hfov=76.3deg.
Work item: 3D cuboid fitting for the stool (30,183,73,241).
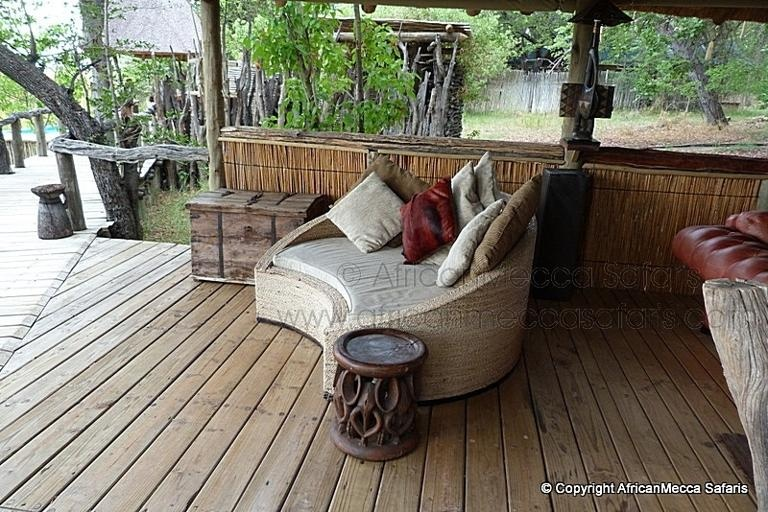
[{"bbox_3d":[-3.858,-0.520,5.740,0.370,0.624,0.397,13,22,35],"label":"stool"}]

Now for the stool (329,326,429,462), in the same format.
[{"bbox_3d":[-0.032,0.843,3.013,0.580,0.676,0.472,1,18,3],"label":"stool"}]

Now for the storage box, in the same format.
[{"bbox_3d":[-1.206,-0.142,4.853,1.153,0.743,0.670,6,10,16],"label":"storage box"}]

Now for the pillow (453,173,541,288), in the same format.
[{"bbox_3d":[0.852,-0.199,3.494,0.251,0.632,0.836,12,21,33],"label":"pillow"}]
